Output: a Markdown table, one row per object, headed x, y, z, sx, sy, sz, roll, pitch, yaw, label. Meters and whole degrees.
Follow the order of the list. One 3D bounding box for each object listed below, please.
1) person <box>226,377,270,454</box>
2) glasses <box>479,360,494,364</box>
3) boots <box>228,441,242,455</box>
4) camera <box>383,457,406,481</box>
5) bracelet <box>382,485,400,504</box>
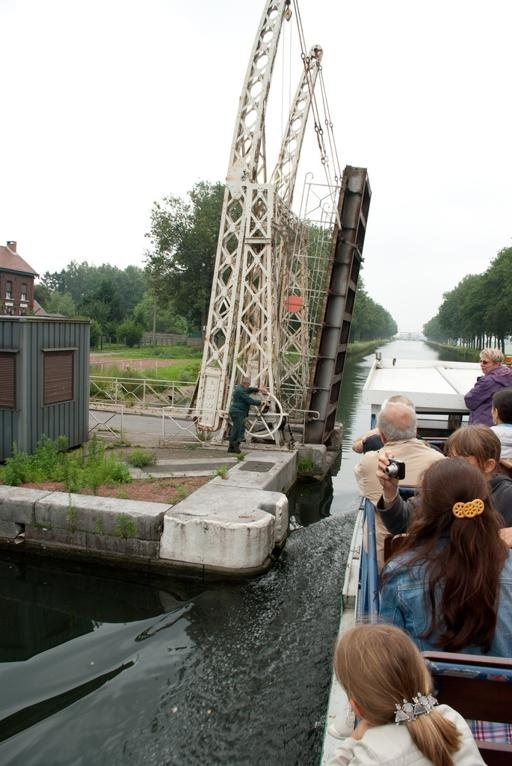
| x | y | z | sx | sy | sz | roll | pitch | yaw | label |
| --- | --- | --- | --- | --- | --- | --- | --- | --- | --- |
| -0.176 | 0.740 | 12.631 | 0.822 | 1.701 | 0.764 | -7 | 35 | -34 | person |
| 2.184 | -0.174 | 5.824 | 0.062 | 0.029 | 0.084 | -6 | -11 | 41 | glasses |
| -0.424 | 1.415 | 12.220 | 0.288 | 0.278 | 0.140 | -7 | -13 | -14 | boots |
| 0.549 | 0.359 | 2.474 | 0.073 | 0.088 | 0.130 | 2 | 0 | -19 | camera |
| 0.571 | 0.499 | 2.628 | 0.069 | 0.091 | 0.036 | 16 | 3 | 42 | bracelet |
